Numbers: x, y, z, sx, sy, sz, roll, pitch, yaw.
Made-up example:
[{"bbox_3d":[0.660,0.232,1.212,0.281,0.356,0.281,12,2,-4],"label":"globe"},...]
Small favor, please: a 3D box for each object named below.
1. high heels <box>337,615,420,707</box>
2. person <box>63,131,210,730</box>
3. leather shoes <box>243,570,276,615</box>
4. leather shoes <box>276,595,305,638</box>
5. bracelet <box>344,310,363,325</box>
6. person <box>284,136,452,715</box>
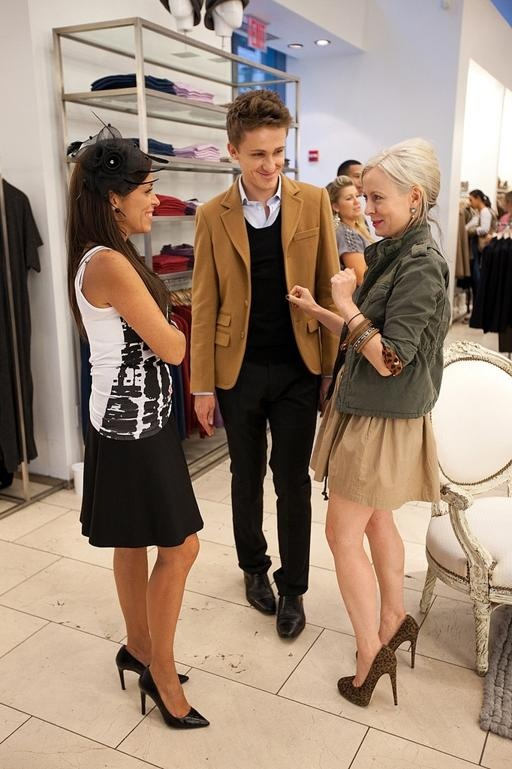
[{"bbox_3d":[0.362,0.762,1.665,0.268,0.225,0.177,-7,7,24],"label":"high heels"},{"bbox_3d":[-0.294,0.168,1.430,0.291,1.511,0.344,-4,10,-18],"label":"person"},{"bbox_3d":[0.014,0.775,2.132,0.062,0.066,0.177,-2,3,-13],"label":"leather shoes"},{"bbox_3d":[0.117,0.794,1.969,0.058,0.060,0.157,-2,3,5],"label":"leather shoes"},{"bbox_3d":[0.224,-0.150,1.320,0.035,0.041,0.062,0,9,2],"label":"bracelet"},{"bbox_3d":[0.344,0.159,1.521,0.355,1.474,0.513,-3,9,-11],"label":"person"}]
